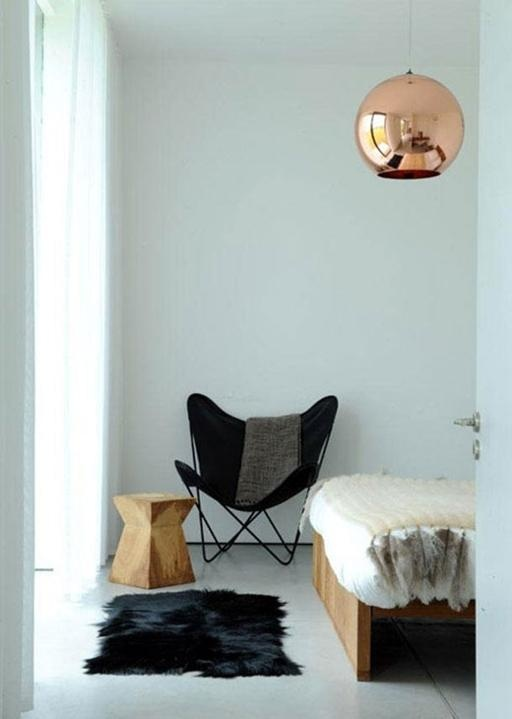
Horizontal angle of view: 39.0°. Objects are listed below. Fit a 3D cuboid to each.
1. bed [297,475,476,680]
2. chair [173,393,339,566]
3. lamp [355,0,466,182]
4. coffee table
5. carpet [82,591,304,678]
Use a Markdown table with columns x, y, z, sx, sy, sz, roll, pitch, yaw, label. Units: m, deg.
| x | y | z | sx | sy | sz | roll | pitch | yaw | label |
| --- | --- | --- | --- | --- | --- | --- | --- | --- | --- |
| 0.474 | 0.717 | 2.456 | 0.500 | 0.526 | 1.008 | 2 | -2 | -1 | bed |
| 0.032 | 0.613 | 3.851 | 0.917 | 0.883 | 0.890 | 3 | -7 | -15 | chair |
| 0.503 | -0.797 | 2.437 | 0.299 | 0.367 | 0.320 | 3 | -2 | -34 | lamp |
| -0.469 | 0.820 | 3.285 | 0.367 | 0.383 | 0.384 | 4 | 5 | 14 | coffee table |
| -0.231 | 0.949 | 2.561 | 0.697 | 0.046 | 0.991 | 2 | -2 | -3 | carpet |
